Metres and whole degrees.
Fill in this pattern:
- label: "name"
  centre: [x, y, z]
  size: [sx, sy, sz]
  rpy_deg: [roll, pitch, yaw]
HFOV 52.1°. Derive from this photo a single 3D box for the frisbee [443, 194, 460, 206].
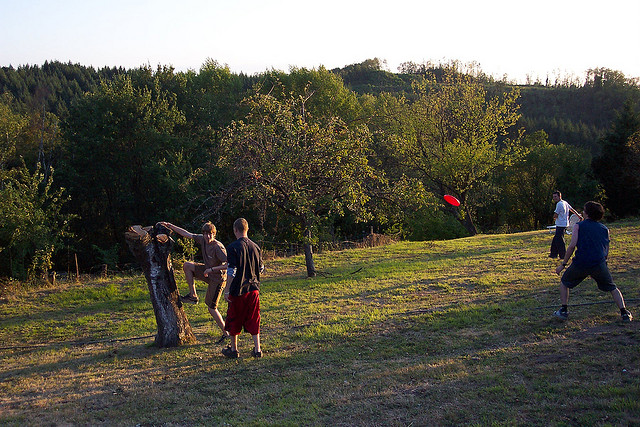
- label: "frisbee"
  centre: [6.930, -0.706, 34.475]
  size: [0.671, 0.150, 0.694]
  rpy_deg: [36, 3, 13]
